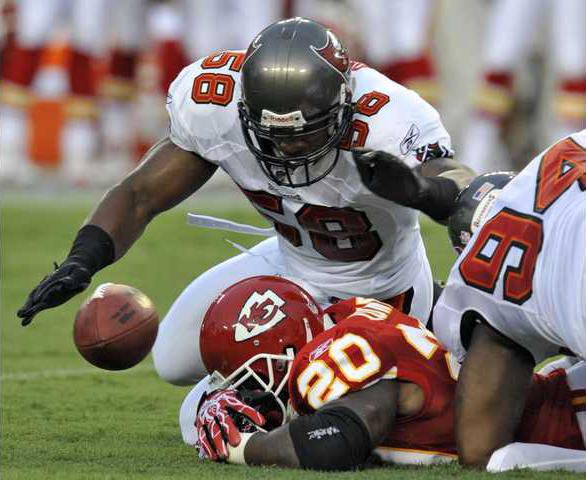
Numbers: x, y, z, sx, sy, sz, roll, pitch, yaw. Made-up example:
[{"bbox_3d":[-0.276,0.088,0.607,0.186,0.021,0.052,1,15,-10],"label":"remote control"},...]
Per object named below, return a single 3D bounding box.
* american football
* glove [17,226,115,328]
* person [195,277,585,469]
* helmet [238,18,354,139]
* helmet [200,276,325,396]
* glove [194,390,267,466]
[{"bbox_3d":[-0.628,0.320,2.682,0.210,0.237,0.251,20,31,30],"label":"american football"},{"bbox_3d":[-0.769,0.111,2.663,0.255,0.172,0.410,17,54,12],"label":"glove"},{"bbox_3d":[0.186,0.388,2.208,0.806,0.284,0.574,-3,-8,6],"label":"person"},{"bbox_3d":[0.037,-0.537,2.623,0.323,0.349,0.419,-3,39,21],"label":"helmet"},{"bbox_3d":[-0.128,0.271,2.445,0.385,0.326,0.293,-37,4,-10],"label":"helmet"},{"bbox_3d":[-0.186,0.570,2.249,0.176,0.066,0.221,-37,40,11],"label":"glove"}]
